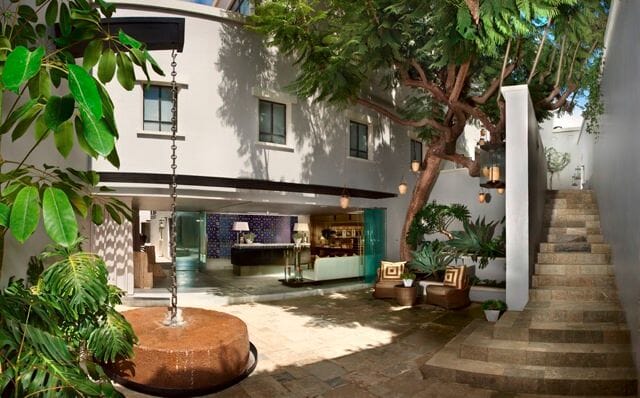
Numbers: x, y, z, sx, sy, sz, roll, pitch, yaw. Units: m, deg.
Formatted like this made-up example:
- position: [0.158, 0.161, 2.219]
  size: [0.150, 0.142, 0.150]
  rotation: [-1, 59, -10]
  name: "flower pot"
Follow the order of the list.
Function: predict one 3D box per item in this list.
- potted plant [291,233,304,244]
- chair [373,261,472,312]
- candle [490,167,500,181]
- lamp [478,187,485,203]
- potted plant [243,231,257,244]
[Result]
- position: [-0.853, 1.617, 17.012]
  size: [0.561, 0.589, 0.569]
  rotation: [2, -7, -18]
  name: "potted plant"
- position: [3.120, 2.596, 12.684]
  size: [2.602, 1.234, 1.473]
  rotation: [0, 1, 41]
  name: "chair"
- position: [4.742, -0.657, 11.114]
  size: [0.219, 0.398, 0.195]
  rotation: [0, 1, 15]
  name: "candle"
- position: [5.806, -0.129, 14.721]
  size: [0.229, 0.573, 0.762]
  rotation: [0, 1, 20]
  name: "lamp"
- position: [-3.320, 1.824, 19.026]
  size: [0.546, 0.576, 0.562]
  rotation: [-1, -5, -5]
  name: "potted plant"
